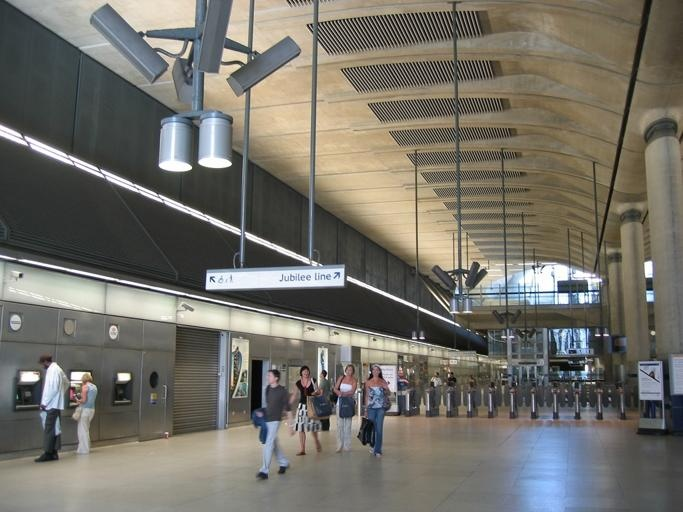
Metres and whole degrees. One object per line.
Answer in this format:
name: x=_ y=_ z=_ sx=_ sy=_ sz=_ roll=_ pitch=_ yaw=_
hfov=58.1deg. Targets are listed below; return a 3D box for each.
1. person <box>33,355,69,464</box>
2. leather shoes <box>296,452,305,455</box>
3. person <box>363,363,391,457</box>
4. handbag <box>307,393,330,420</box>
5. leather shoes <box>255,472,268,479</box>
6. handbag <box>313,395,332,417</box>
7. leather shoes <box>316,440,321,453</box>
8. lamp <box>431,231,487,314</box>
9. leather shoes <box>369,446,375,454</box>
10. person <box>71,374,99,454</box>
person: x=-5.486 y=2.977 z=11.699 sx=0.452 sy=1.787 sz=0.370 roll=5 pitch=-14 yaw=-25
leather shoes: x=-0.804 y=4.016 z=12.506 sx=0.170 sy=0.081 sz=0.308 roll=0 pitch=-14 yaw=-6
person: x=0.751 y=3.128 z=12.520 sx=0.486 sy=1.802 sz=0.854 roll=-2 pitch=-13 yaw=1
handbag: x=-0.515 y=3.232 z=13.172 sx=0.182 sy=0.513 sz=0.537 roll=-17 pitch=-22 yaw=22
leather shoes: x=-1.292 y=3.559 z=9.940 sx=0.209 sy=0.105 sz=0.198 roll=-3 pitch=-14 yaw=5
handbag: x=-0.418 y=3.266 z=13.344 sx=0.166 sy=0.542 sz=0.885 roll=-16 pitch=-22 yaw=19
leather shoes: x=-0.470 y=4.038 z=12.999 sx=0.091 sy=0.251 sz=0.061 roll=0 pitch=8 yaw=24
lamp: x=2.715 y=0.396 z=13.959 sx=1.149 sy=1.802 sz=1.227 roll=-5 pitch=-7 yaw=22
leather shoes: x=0.631 y=4.044 z=12.746 sx=0.080 sy=0.107 sz=0.249 roll=2 pitch=-14 yaw=-2
person: x=-5.225 y=3.198 z=12.500 sx=0.384 sy=1.599 sz=0.537 roll=4 pitch=-14 yaw=-24
